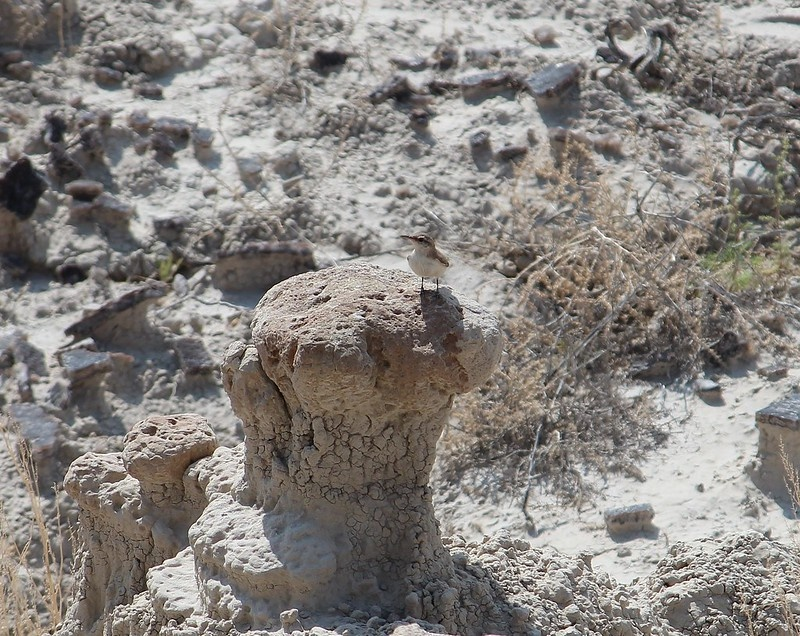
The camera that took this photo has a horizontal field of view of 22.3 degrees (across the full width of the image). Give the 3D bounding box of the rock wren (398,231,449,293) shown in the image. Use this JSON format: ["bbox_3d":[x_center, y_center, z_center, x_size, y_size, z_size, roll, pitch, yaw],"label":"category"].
[{"bbox_3d":[0.191,-0.347,12.947,0.241,0.364,0.510,1,2,32],"label":"rock wren"}]
